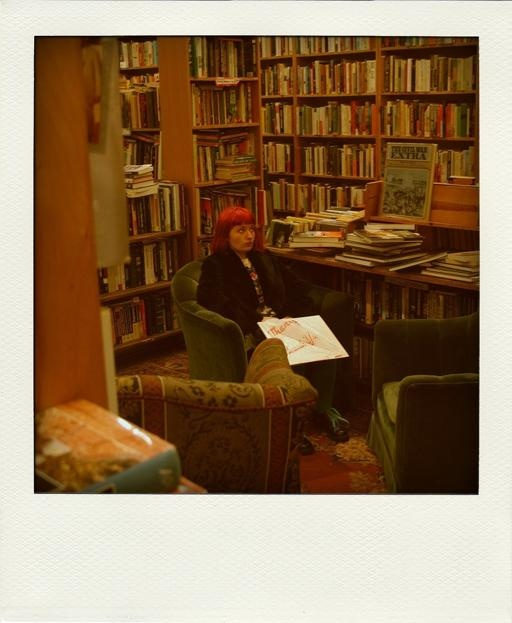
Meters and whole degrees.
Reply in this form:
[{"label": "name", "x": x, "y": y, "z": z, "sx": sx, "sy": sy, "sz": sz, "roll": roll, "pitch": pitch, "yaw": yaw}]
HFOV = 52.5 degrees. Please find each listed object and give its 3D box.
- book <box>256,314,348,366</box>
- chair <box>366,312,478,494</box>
[{"label": "book", "x": 0.242, "y": 0.116, "z": 2.383, "sx": 0.290, "sy": 0.075, "sz": 0.285, "roll": 0, "pitch": 34, "yaw": -26}, {"label": "chair", "x": 0.579, "y": 0.310, "z": 1.792, "sx": 0.360, "sy": 0.555, "sz": 0.651, "roll": 0, "pitch": 9, "yaw": 3}]
